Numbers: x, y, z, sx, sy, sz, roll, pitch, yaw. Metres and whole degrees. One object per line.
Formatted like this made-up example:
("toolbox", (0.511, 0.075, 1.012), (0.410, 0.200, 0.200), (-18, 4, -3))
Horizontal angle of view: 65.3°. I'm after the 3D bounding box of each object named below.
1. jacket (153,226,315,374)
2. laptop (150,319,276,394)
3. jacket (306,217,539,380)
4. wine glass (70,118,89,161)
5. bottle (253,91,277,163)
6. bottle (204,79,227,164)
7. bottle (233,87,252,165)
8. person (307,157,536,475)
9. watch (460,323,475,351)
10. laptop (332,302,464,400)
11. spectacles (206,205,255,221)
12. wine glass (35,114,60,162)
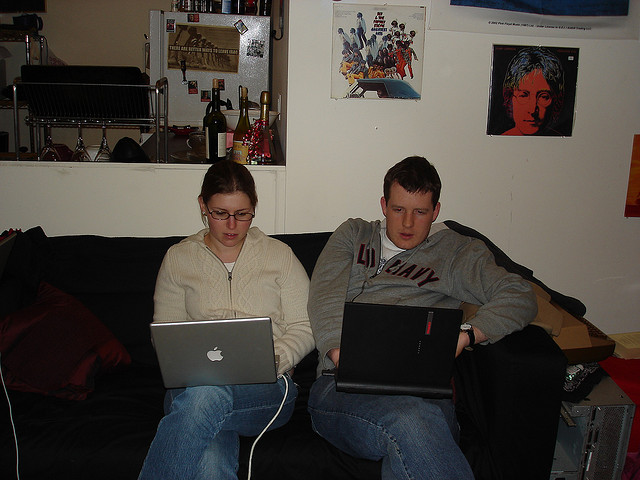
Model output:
("jacket", (-0.347, 0.308, 2.055), (0.657, 0.703, 0.440), (-1, 5, -7))
("laptop", (-0.359, 0.306, 1.788), (0.400, 0.295, 0.313), (0, 33, -3))
("jacket", (0.397, 0.192, 2.043), (0.897, 0.456, 0.443), (3, 12, 3))
("wine glass", (-1.321, -0.547, 2.713), (0.079, 0.211, 0.650), (-3, 14, -26))
("bottle", (-0.303, -0.603, 2.687), (0.121, 0.352, 0.460), (1, 12, -8))
("bottle", (-0.540, -0.599, 2.545), (0.106, 0.401, 0.265), (-1, 12, -13))
("bottle", (-0.406, -0.585, 2.577), (0.092, 0.370, 0.388), (0, 12, -10))
("person", (0.308, 0.264, 2.170), (0.857, 1.390, 1.115), (4, -3, 4))
("watch", (0.553, 0.370, 1.877), (0.052, 0.117, 0.078), (6, 12, 17))
("laptop", (0.272, 0.290, 1.835), (0.403, 0.362, 0.309), (3, 31, 2))
("spectacles", (-0.356, -0.098, 1.942), (0.182, 0.052, 0.044), (2, 12, -6))
("wine glass", (-1.495, -0.531, 2.749), (0.129, 0.272, 0.101), (-1, -14, -33))
